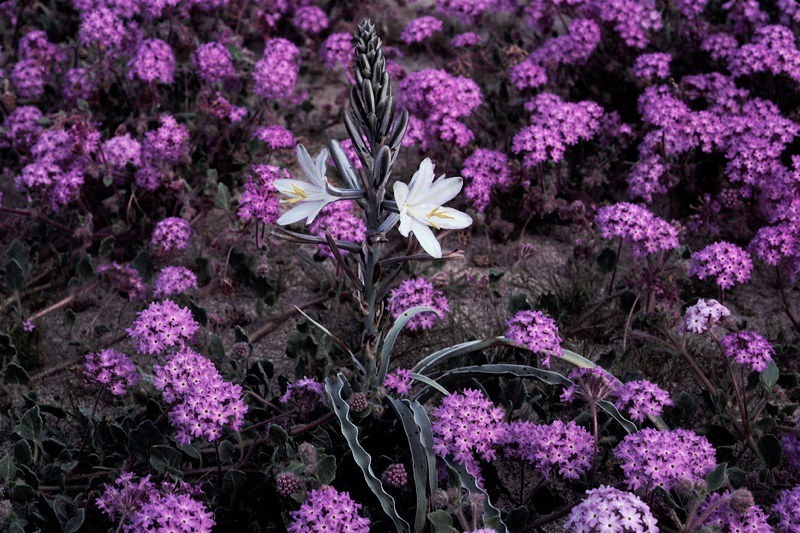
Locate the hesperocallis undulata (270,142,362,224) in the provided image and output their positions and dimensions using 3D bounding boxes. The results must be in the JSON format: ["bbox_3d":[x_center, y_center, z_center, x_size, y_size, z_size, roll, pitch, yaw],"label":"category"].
[{"bbox_3d":[-0.558,-0.459,5.609,0.498,0.396,0.534,12,80,-18],"label":"hesperocallis undulata"}]

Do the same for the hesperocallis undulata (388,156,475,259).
[{"bbox_3d":[0.172,-0.335,5.479,0.476,0.563,0.528,35,61,24],"label":"hesperocallis undulata"}]
